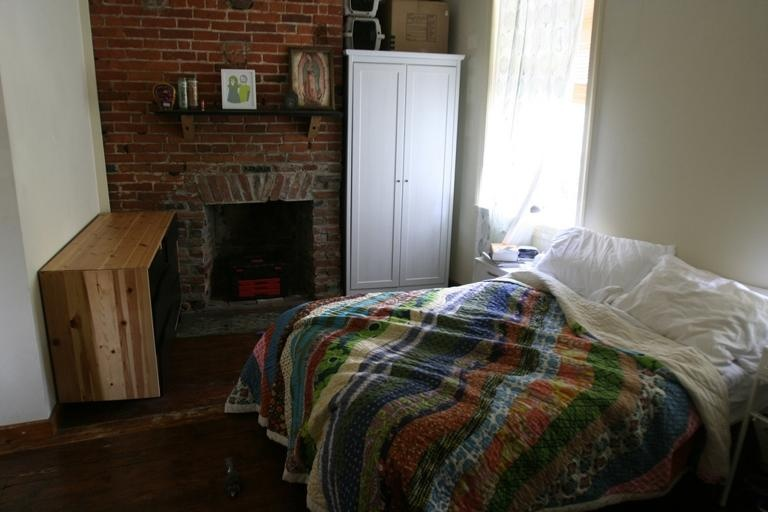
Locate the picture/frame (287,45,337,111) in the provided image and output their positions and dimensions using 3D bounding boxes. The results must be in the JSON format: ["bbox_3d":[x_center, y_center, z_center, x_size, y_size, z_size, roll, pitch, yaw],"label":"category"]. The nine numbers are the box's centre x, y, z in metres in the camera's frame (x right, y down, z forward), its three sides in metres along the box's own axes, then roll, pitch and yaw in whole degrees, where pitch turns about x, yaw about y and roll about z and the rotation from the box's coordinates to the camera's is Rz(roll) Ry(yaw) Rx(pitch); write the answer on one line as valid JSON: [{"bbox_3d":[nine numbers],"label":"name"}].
[{"bbox_3d":[-0.652,-1.562,4.680,0.572,0.745,0.058,-3,11,-15],"label":"picture/frame"}]

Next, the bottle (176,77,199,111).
[{"bbox_3d":[-1.647,-1.362,4.463,0.183,0.265,0.257,-6,18,-19],"label":"bottle"}]

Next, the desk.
[{"bbox_3d":[-1.809,0.367,3.486,0.494,0.789,1.283,-5,4,-12],"label":"desk"}]

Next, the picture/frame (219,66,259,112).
[{"bbox_3d":[-1.243,-1.408,4.516,0.435,0.486,0.063,-2,14,-10],"label":"picture/frame"}]

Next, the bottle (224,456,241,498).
[{"bbox_3d":[-0.866,1.281,3.061,0.063,0.086,0.233,4,16,-16],"label":"bottle"}]
